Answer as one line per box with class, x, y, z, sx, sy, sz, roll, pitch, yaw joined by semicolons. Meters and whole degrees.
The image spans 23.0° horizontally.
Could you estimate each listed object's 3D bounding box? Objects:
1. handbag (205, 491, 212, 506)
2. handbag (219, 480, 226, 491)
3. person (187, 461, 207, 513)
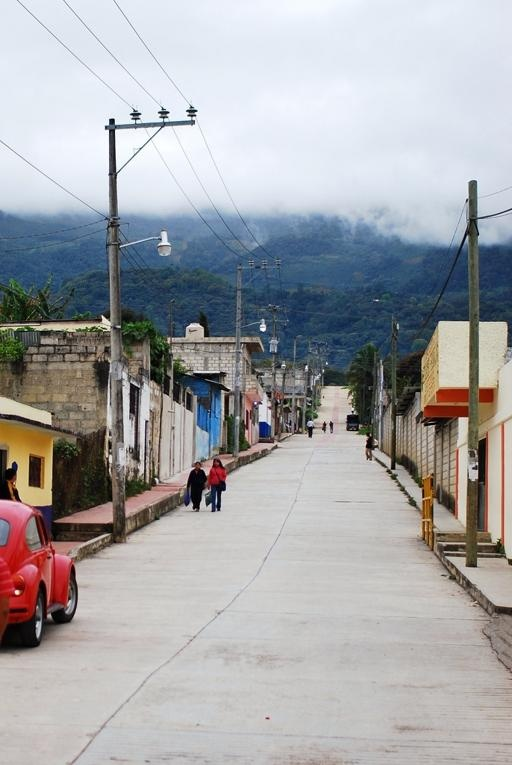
handbag;-1.109;2.638;28.627;0.054;0.297;0.251;4;9;23
handbag;-0.741;2.374;28.910;0.185;0.208;0.327;-2;-4;2
person;-1.374;2.445;29.578;0.463;1.325;0.336;1;-38;-2
